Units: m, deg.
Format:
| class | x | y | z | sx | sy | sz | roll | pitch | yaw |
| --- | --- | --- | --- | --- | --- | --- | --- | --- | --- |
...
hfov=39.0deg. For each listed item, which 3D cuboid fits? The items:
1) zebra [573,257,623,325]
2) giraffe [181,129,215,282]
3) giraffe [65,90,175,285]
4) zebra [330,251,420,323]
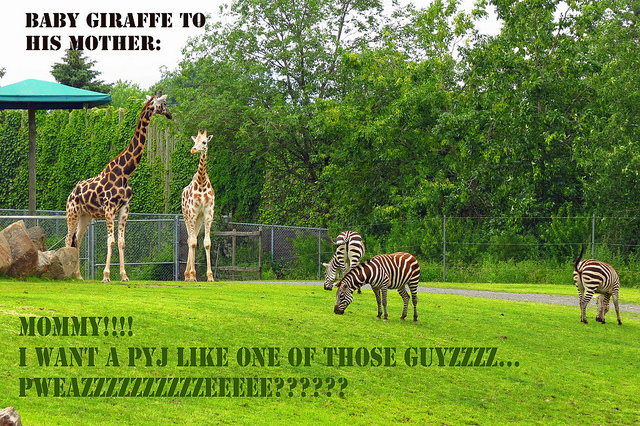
| class | x | y | z | sx | sy | sz | roll | pitch | yaw |
| --- | --- | --- | --- | --- | --- | --- | --- | --- | --- |
| zebra | 8.851 | 2.419 | 29.488 | 1.141 | 2.442 | 2.395 | 1 | -1 | -1 |
| giraffe | -4.625 | -0.378 | 34.548 | 1.212 | 5.936 | 2.472 | 2 | -2 | -9 |
| giraffe | -7.391 | -1.085 | 33.489 | 3.198 | 10.911 | 3.771 | -4 | 7 | -29 |
| zebra | 1.731 | 2.250 | 27.283 | 2.983 | 2.132 | 0.865 | -2 | 6 | -26 |
